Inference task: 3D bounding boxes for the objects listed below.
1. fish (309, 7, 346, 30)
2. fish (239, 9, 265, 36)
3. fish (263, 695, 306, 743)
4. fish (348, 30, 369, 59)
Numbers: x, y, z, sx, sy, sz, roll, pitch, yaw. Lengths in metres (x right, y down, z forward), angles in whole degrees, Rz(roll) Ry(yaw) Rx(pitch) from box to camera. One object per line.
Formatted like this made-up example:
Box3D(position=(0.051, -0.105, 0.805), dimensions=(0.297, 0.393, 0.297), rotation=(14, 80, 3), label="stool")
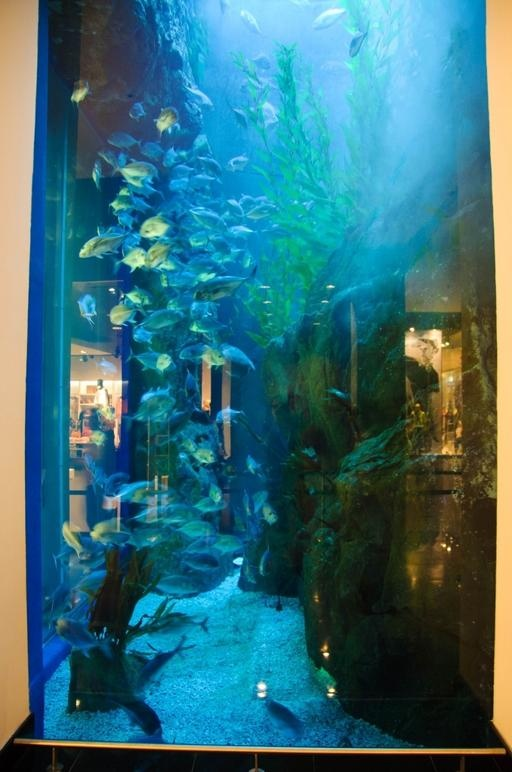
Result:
Box3D(position=(0.368, -1.842, 3.010), dimensions=(0.137, 0.089, 0.047), rotation=(-23, 3, 16), label="fish")
Box3D(position=(-0.027, -1.860, 3.106), dimensions=(0.070, 0.136, 0.043), rotation=(-34, 6, 13), label="fish")
Box3D(position=(0.141, 1.592, 2.945), dimensions=(0.081, 0.109, 0.260), rotation=(42, -7, -35), label="fish")
Box3D(position=(0.516, -1.701, 2.987), dimensions=(0.077, 0.168, 0.050), rotation=(13, -3, 27), label="fish")
